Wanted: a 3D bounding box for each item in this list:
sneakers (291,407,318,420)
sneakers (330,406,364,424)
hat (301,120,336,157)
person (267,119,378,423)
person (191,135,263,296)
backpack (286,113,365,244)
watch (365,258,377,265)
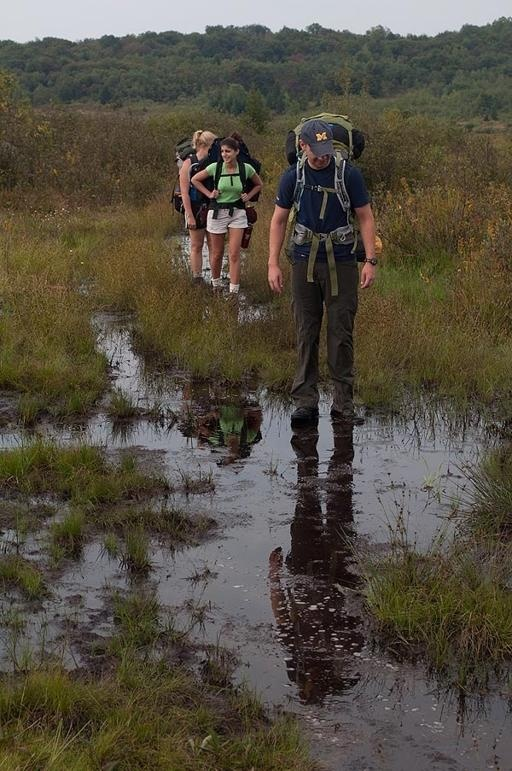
[{"bbox_3d":[0.371,0.215,6.322,0.203,0.115,0.083,3,2,-19],"label":"sneakers"},{"bbox_3d":[0.687,0.214,6.309,0.275,0.138,0.103,5,11,29],"label":"sneakers"},{"bbox_3d":[0.402,-1.649,5.394,0.232,0.237,0.202,3,12,3],"label":"hat"},{"bbox_3d":[0.516,-0.749,5.922,0.782,2.252,0.773,-1,12,-14],"label":"person"},{"bbox_3d":[-0.363,-1.919,9.298,0.692,1.767,0.627,12,15,41],"label":"person"},{"bbox_3d":[0.522,-1.804,6.108,0.549,0.412,0.735,-9,-34,1],"label":"backpack"},{"bbox_3d":[0.824,-0.897,5.860,0.034,0.048,0.056,-10,5,-25],"label":"watch"}]
